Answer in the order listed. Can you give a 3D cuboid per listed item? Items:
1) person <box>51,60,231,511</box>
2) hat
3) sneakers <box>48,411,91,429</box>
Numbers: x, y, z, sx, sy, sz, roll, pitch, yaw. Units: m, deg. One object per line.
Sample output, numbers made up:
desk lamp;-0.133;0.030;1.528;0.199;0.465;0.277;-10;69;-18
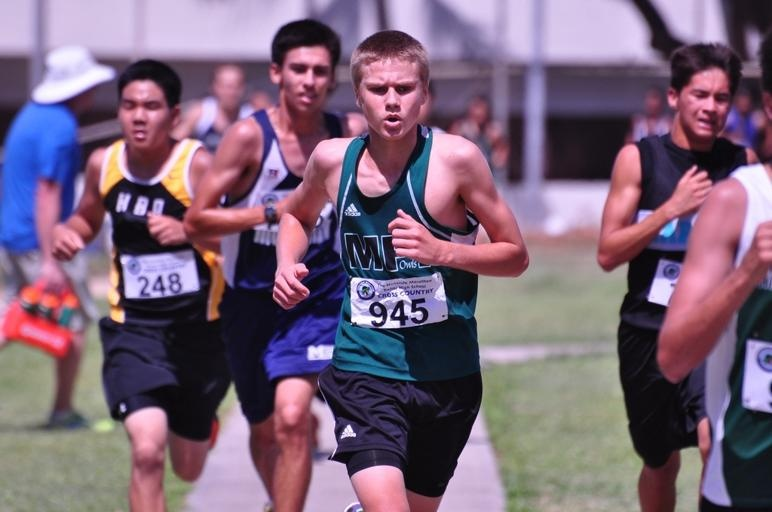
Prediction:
person;-1.320;0.138;4.958;0.775;2.426;0.800;-1;8;-1
hat;-2.357;-1.338;6.652;0.432;0.294;0.550;-21;12;27
sneakers;-2.490;1.288;7.010;0.248;0.098;0.153;5;-7;-26
